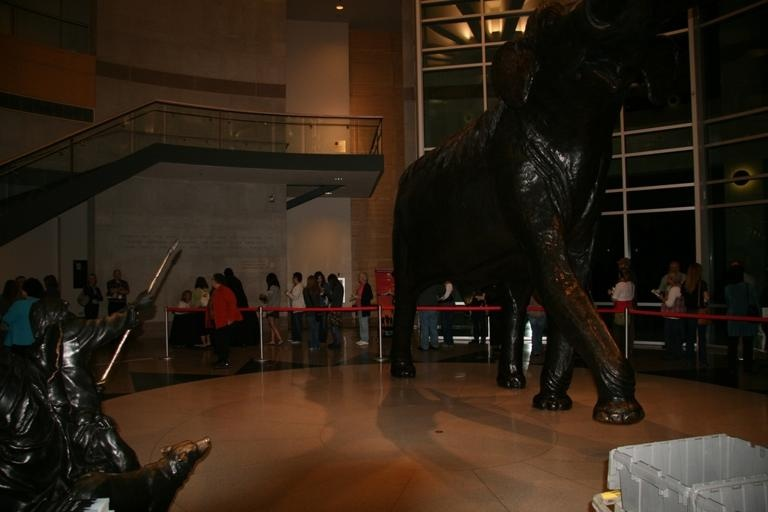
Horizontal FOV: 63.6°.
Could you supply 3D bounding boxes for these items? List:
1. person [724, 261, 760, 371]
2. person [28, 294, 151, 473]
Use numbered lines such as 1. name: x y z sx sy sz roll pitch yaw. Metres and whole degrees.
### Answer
1. person: 5.696 0.943 9.884 0.451 1.626 1.572 3 8 30
2. person: -2.795 1.208 5.817 0.944 1.600 0.711 -4 8 -17
